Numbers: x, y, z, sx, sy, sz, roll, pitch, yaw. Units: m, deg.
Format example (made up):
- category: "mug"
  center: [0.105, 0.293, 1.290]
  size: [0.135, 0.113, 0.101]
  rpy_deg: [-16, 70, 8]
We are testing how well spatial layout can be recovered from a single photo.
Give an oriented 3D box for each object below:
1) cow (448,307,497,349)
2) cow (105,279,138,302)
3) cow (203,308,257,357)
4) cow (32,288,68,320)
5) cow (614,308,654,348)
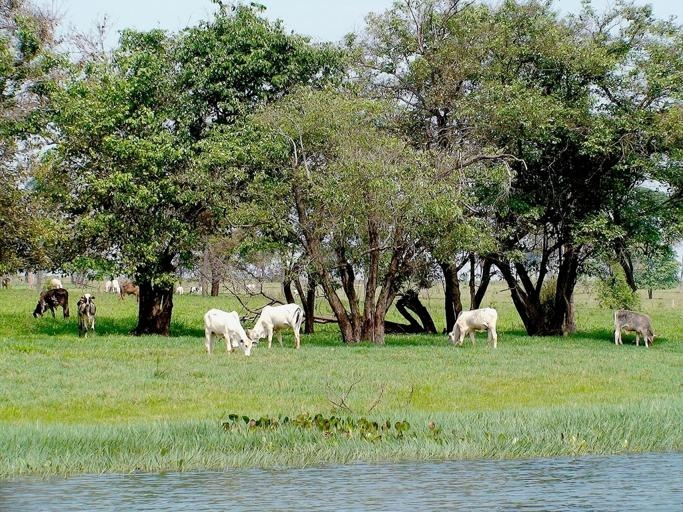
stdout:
- category: "cow"
  center: [6.703, 3.561, 52.031]
  size: [2.332, 2.258, 4.556]
  rpy_deg: [1, 8, 8]
- category: "cow"
  center: [-19.099, 2.959, 89.458]
  size: [3.275, 2.098, 1.334]
  rpy_deg: [8, 3, 22]
- category: "cow"
  center: [-4.984, 3.286, 45.939]
  size: [2.265, 1.995, 1.478]
  rpy_deg: [3, 8, 20]
- category: "cow"
  center: [-18.630, 3.028, 65.967]
  size: [2.352, 1.862, 2.355]
  rpy_deg: [-6, 10, -37]
- category: "cow"
  center: [16.052, 3.946, 56.581]
  size: [2.015, 2.108, 3.786]
  rpy_deg: [2, 8, 16]
